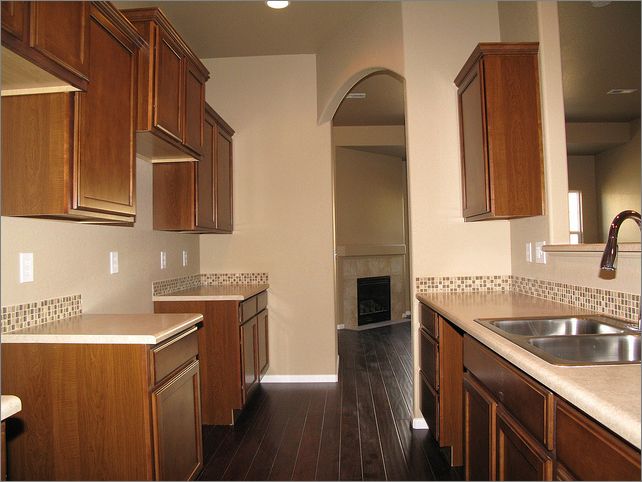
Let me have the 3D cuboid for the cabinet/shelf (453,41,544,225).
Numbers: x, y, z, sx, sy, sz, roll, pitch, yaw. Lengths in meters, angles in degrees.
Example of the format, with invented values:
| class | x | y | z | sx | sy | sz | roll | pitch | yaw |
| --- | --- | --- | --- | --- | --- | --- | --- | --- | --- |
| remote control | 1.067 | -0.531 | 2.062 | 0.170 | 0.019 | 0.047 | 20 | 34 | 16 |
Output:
| class | x | y | z | sx | sy | sz | roll | pitch | yaw |
| --- | --- | --- | --- | --- | --- | --- | --- | --- | --- |
| cabinet/shelf | 1.204 | -0.704 | 3.322 | 0.423 | 1.097 | 0.502 | -2 | 1 | -2 |

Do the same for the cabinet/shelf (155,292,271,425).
| class | x | y | z | sx | sy | sz | roll | pitch | yaw |
| --- | --- | --- | --- | --- | --- | --- | --- | --- | --- |
| cabinet/shelf | -0.861 | 0.745 | 4.212 | 0.702 | 1.168 | 1.475 | -2 | 1 | 0 |

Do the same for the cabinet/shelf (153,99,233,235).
| class | x | y | z | sx | sy | sz | roll | pitch | yaw |
| --- | --- | --- | --- | --- | --- | --- | --- | --- | --- |
| cabinet/shelf | -1.009 | -0.538 | 4.063 | 0.300 | 0.976 | 0.975 | 0 | -1 | 7 |
